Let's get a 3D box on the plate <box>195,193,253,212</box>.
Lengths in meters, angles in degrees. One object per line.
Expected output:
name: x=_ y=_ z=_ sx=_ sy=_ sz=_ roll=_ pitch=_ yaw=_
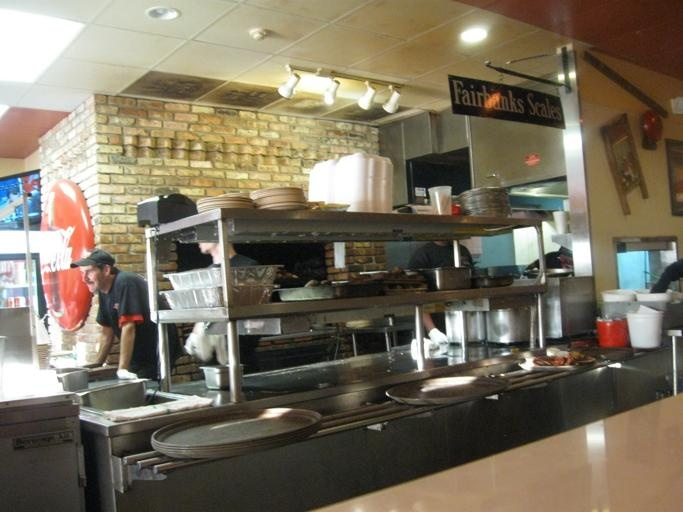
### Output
plate: x=-0.550 y=-0.239 z=2.655 sx=0.162 sy=0.035 sz=0.153 roll=-2 pitch=-1 yaw=36

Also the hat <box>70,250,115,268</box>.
hat: x=-1.890 y=0.020 z=4.342 sx=0.271 sy=0.090 sz=0.165 roll=2 pitch=-6 yaw=-42

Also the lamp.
lamp: x=0.019 y=-1.618 z=5.623 sx=1.546 sy=0.253 sz=0.285 roll=-6 pitch=2 yaw=-41

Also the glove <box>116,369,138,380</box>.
glove: x=-1.188 y=0.647 z=3.119 sx=0.210 sy=0.064 sz=0.084 roll=-12 pitch=-11 yaw=43

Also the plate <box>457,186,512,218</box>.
plate: x=0.892 y=-0.325 z=3.580 sx=0.306 sy=0.115 sz=0.239 roll=-1 pitch=-2 yaw=-1

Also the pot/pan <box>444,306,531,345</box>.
pot/pan: x=0.913 y=0.450 z=3.764 sx=0.328 sy=0.186 sz=0.523 roll=1 pitch=-1 yaw=-38

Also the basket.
basket: x=-0.598 y=0.144 z=2.706 sx=0.333 sy=0.096 sz=0.371 roll=-5 pitch=6 yaw=-39
